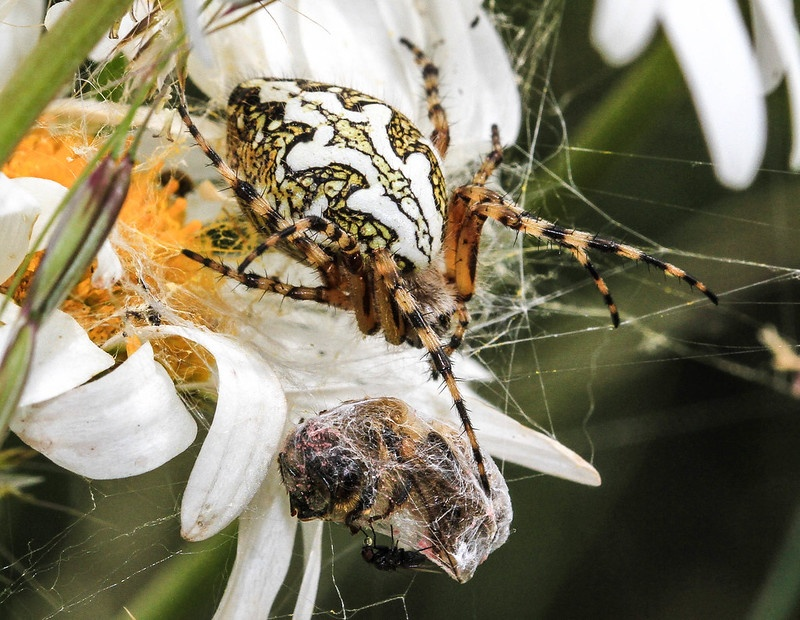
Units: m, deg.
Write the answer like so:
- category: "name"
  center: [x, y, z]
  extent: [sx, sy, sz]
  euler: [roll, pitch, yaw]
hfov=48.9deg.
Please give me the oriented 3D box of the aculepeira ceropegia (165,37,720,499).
- category: "aculepeira ceropegia"
  center: [0.122, -0.095, 1.445]
  extent: [0.408, 0.883, 0.981]
  euler: [-2, 13, -13]
